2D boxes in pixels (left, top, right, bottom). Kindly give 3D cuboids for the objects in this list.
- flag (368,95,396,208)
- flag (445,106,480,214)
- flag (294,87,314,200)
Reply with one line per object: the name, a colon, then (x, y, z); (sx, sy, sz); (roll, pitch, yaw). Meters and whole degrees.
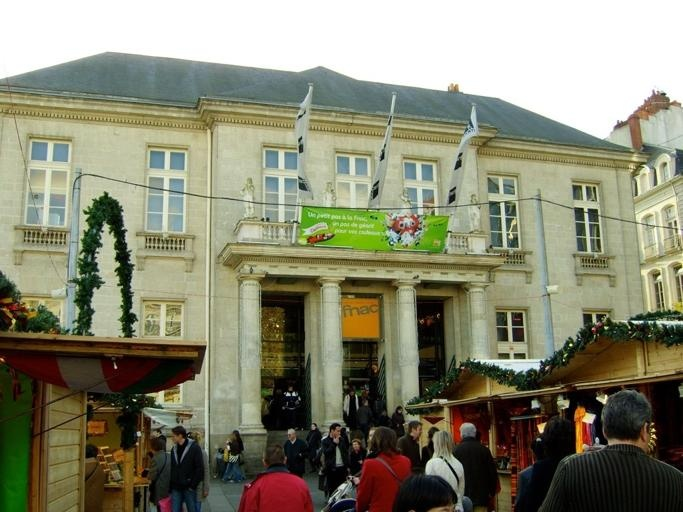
flag: (1.507, -4.078, 33.612); (1.182, 4.981, 2.690); (-2, -13, 3)
flag: (4.673, -3.676, 33.240); (0.756, 4.864, 0.999); (21, -19, -24)
flag: (-1.352, -4.122, 31.593); (0.274, 4.332, 1.020); (-7, 17, -40)
